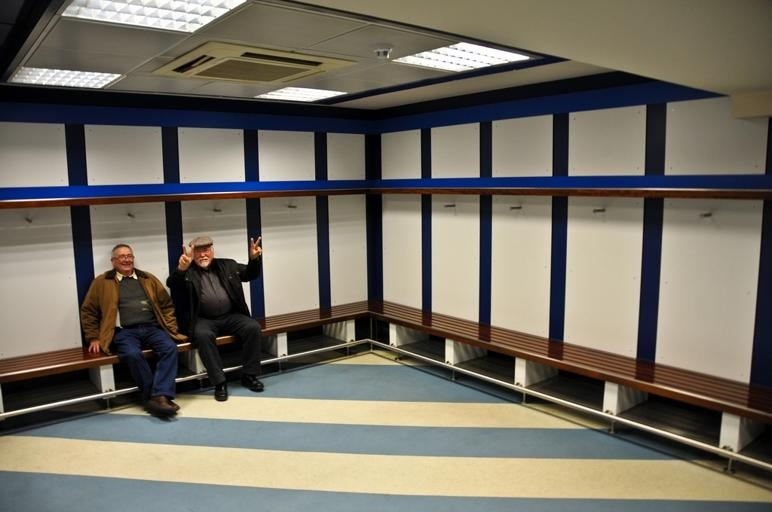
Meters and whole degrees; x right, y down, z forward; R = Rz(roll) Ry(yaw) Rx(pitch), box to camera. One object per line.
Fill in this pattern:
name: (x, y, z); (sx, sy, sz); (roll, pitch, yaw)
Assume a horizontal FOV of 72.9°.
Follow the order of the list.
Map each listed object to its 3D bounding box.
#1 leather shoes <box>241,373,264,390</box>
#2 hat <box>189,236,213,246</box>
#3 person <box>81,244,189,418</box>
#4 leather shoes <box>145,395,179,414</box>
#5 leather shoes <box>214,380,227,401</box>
leather shoes: (-1.657, 1.557, 6.433); (0.126, 0.135, 0.352); (0, -1, -38)
hat: (-2.291, -0.185, 6.463); (0.165, 0.060, 0.183); (3, 12, 24)
person: (-2.872, 0.754, 6.050); (1.177, 1.652, 0.880); (8, 17, 33)
leather shoes: (-2.511, 1.656, 5.820); (0.432, 0.163, 0.168); (7, 3, 29)
leather shoes: (-1.969, 1.575, 6.155); (0.161, 0.197, 0.279); (-6, 14, -19)
